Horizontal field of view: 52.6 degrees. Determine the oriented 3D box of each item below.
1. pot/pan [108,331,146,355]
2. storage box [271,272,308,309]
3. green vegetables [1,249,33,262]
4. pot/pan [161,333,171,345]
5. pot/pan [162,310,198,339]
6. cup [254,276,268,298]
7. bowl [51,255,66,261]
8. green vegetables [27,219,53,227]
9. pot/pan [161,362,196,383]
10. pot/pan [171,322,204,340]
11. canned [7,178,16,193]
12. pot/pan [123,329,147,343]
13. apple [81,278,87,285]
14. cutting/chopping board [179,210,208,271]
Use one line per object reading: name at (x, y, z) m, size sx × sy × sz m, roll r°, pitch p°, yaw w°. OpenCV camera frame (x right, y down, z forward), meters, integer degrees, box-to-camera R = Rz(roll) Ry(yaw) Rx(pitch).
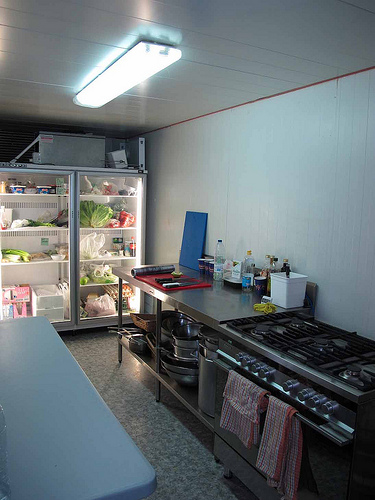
pot/pan at (-0.465, 0.771, 3.204) m, size 0.134 × 0.076 × 0.297 m, roll -4°, pitch 11°, yaw -39°
storage box at (0.588, 0.225, 2.258) m, size 0.144 × 0.147 × 0.170 m, roll 9°, pitch 5°, yaw 34°
green vegetables at (-1.778, 0.052, 3.959) m, size 0.318 × 0.113 × 0.183 m, roll 4°, pitch 6°, yaw 7°
pot/pan at (-0.162, 0.673, 2.889) m, size 0.064 × 0.016 × 0.067 m, roll -3°, pitch 15°, yaw -34°
pot/pan at (-0.093, 0.585, 3.077) m, size 0.204 × 0.071 × 0.203 m, roll 4°, pitch 26°, yaw -20°
cup at (0.488, 0.239, 2.573) m, size 0.110 × 0.138 × 0.119 m, roll -1°, pitch 11°, yaw 0°
bowl at (-1.406, 0.075, 4.129) m, size 0.143 × 0.067 × 0.158 m, roll 2°, pitch 6°, yaw -20°
green vegetables at (-1.569, -0.285, 4.071) m, size 0.270 × 0.066 × 0.242 m, roll 1°, pitch 6°, yaw -22°
pot/pan at (-0.029, 0.818, 2.473) m, size 0.144 × 0.046 × 0.143 m, roll 15°, pitch 2°, yaw -17°
pot/pan at (-0.012, 0.603, 2.805) m, size 0.191 × 0.083 × 0.168 m, roll -3°, pitch 7°, yaw -32°
canned at (-1.813, -0.673, 3.940) m, size 0.094 × 0.166 × 0.226 m, roll 1°, pitch 6°, yaw -25°
pot/pan at (-0.430, 0.715, 3.182) m, size 0.157 × 0.035 × 0.266 m, roll 0°, pitch 6°, yaw -24°
apple at (-1.116, 0.329, 4.141) m, size 0.066 × 0.066 × 0.068 m, roll -10°, pitch 19°, yaw -44°
cutting/chopping board at (0.046, -0.134, 3.613) m, size 0.033 × 0.458 × 0.350 m, roll 10°, pitch 9°, yaw 36°
